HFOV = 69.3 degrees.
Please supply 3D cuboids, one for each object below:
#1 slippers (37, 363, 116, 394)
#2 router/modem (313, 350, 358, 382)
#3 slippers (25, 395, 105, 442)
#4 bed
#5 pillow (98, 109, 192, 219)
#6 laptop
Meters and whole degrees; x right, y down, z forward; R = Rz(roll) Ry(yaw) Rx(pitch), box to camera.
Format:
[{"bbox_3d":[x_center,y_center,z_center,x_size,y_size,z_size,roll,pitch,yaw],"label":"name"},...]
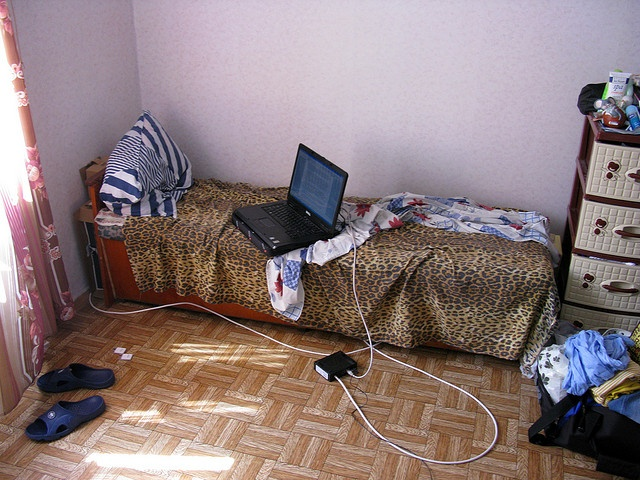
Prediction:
[{"bbox_3d":[-1.190,0.679,2.321,0.377,0.121,0.139,0,36,-11],"label":"slippers"},{"bbox_3d":[0.088,0.653,2.380,0.186,0.063,0.154,-15,30,-32],"label":"router/modem"},{"bbox_3d":[-1.139,0.799,2.104,0.298,0.089,0.139,-19,39,-34],"label":"slippers"},{"bbox_3d":[0.110,0.146,2.534,2.029,0.478,1.105,10,35,14],"label":"bed"},{"bbox_3d":[-1.074,-0.446,2.797,0.443,0.279,0.717,16,35,-9],"label":"pillow"},{"bbox_3d":[-0.181,-0.218,2.534,0.548,0.376,0.599,-26,39,-37],"label":"laptop"}]
